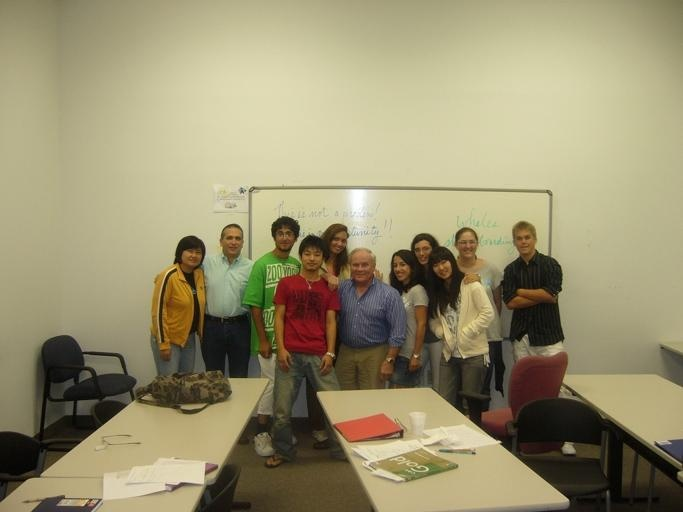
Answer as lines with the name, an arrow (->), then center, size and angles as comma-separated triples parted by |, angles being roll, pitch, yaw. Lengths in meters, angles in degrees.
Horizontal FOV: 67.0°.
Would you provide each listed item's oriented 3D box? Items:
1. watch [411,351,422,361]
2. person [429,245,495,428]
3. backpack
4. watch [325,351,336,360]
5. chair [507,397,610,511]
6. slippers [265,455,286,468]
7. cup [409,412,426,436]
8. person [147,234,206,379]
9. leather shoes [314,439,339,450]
watch -> 0.623, 0.836, 4.314 | 0.071, 0.073, 0.096 | 1, 8, 5
person -> 0.945, 0.771, 4.207 | 0.557, 1.608, 0.458 | -9, -10, 27
backpack -> -1.022, 0.899, 3.400 | 0.404, 0.157, 0.295 | -2, -2, -9
watch -> -0.095, 0.794, 4.072 | 0.078, 0.053, 0.074 | 35, -32, -32
chair -> 1.358, 1.228, 3.406 | 0.633, 0.919, 0.636 | 0, -8, 5
slippers -> -0.543, 1.670, 4.175 | 0.074, 0.050, 0.137 | -4, -11, 31
cup -> 0.441, 0.986, 3.022 | 0.110, 0.120, 0.115 | -2, -6, 0
person -> -1.394, 0.432, 4.447 | 0.464, 1.201, 0.330 | -3, 8, -19
leather shoes -> -0.128, 1.639, 4.466 | 0.245, 0.107, 0.083 | 7, -9, -2
